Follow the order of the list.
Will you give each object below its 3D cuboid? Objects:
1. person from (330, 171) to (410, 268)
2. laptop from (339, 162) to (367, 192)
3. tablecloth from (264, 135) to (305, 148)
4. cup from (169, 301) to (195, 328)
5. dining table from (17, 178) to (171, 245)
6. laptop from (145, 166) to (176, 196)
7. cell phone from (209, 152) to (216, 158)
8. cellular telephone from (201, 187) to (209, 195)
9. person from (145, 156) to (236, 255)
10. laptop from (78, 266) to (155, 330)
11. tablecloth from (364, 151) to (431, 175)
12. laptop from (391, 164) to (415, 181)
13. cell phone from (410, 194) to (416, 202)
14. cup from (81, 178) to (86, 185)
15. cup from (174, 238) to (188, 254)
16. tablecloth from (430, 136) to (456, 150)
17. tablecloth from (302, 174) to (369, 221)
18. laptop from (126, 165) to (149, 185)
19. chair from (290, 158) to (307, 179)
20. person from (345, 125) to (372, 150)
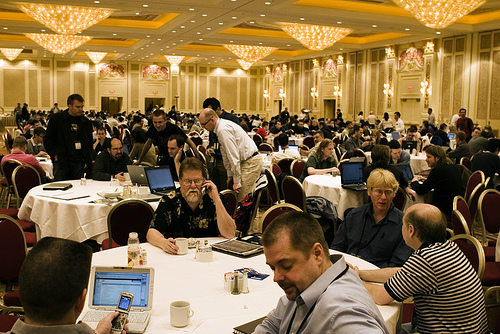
[{"bbox_3d":[1.088,0.525,3.477,0.706,1.033,0.613,3,9,20],"label":"person"},{"bbox_3d":[1.475,0.147,5.796,0.409,0.337,0.489,-16,7,-25],"label":"laptop"},{"bbox_3d":[1.229,-0.991,14.048,1.443,0.304,1.128,0,4,7],"label":"tablecloth"},{"bbox_3d":[-0.406,0.829,2.145,0.145,0.113,0.094,0,-2,39],"label":"cup"},{"bbox_3d":[-2.113,0.481,4.758,1.251,0.383,1.358,4,3,-8],"label":"dining table"},{"bbox_3d":[-1.082,0.159,4.963,0.408,0.345,0.500,-4,1,25],"label":"laptop"},{"bbox_3d":[-0.609,-0.198,6.139,0.073,0.078,0.070,2,10,12],"label":"cell phone"},{"bbox_3d":[-0.406,0.207,3.368,0.053,0.038,0.016,-37,36,-12],"label":"cellular telephone"},{"bbox_3d":[-0.541,0.504,3.432,0.731,1.112,0.707,-8,27,-24],"label":"person"},{"bbox_3d":[-0.757,0.713,2.184,0.363,0.238,0.341,4,30,0],"label":"laptop"},{"bbox_3d":[3.887,-0.122,9.398,0.919,0.403,1.004,-3,7,-27],"label":"tablecloth"},{"bbox_3d":[2.550,0.063,6.241,0.443,0.314,0.320,1,-3,-39],"label":"laptop"},{"bbox_3d":[2.372,0.444,5.531,0.057,0.117,0.215,2,5,29],"label":"cell phone"},{"bbox_3d":[-2.393,0.207,5.434,0.074,0.091,0.077,2,9,0],"label":"cup"},{"bbox_3d":[-0.555,0.635,3.054,0.082,0.099,0.128,-1,2,-35],"label":"cup"},{"bbox_3d":[5.477,-0.646,10.561,0.331,0.506,0.382,11,18,40],"label":"tablecloth"},{"bbox_3d":[1.270,0.416,5.926,0.673,0.402,0.692,-1,10,-13],"label":"tablecloth"},{"bbox_3d":[-1.501,0.092,5.168,0.332,0.252,0.240,1,12,28],"label":"laptop"},{"bbox_3d":[0.910,0.028,7.338,0.296,0.554,0.340,1,2,-10],"label":"chair"},{"bbox_3d":[2.860,-0.725,10.039,0.612,0.632,0.704,3,10,23],"label":"person"}]
